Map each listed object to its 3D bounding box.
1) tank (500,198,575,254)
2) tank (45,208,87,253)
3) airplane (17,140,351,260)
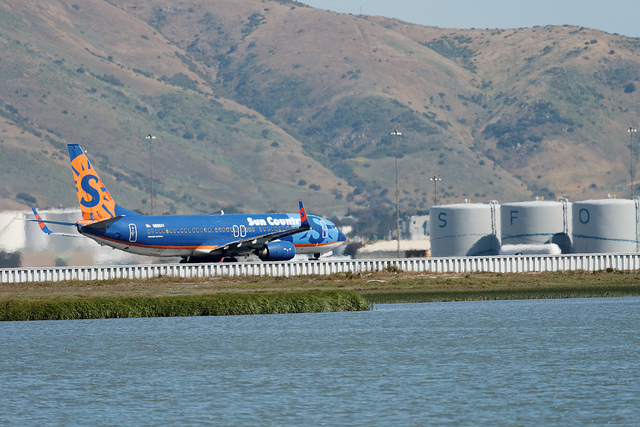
[{"bbox_3d":[55.559,2.959,394.596,16.405,12.225,14.807,-3,-2,36],"label":"tank"},{"bbox_3d":[-63.834,3.987,389.318,12.237,10.791,11.433,-2,2,-41],"label":"tank"},{"bbox_3d":[-30.343,3.604,376.379,44.035,12.800,45.595,-1,1,-27],"label":"airplane"}]
